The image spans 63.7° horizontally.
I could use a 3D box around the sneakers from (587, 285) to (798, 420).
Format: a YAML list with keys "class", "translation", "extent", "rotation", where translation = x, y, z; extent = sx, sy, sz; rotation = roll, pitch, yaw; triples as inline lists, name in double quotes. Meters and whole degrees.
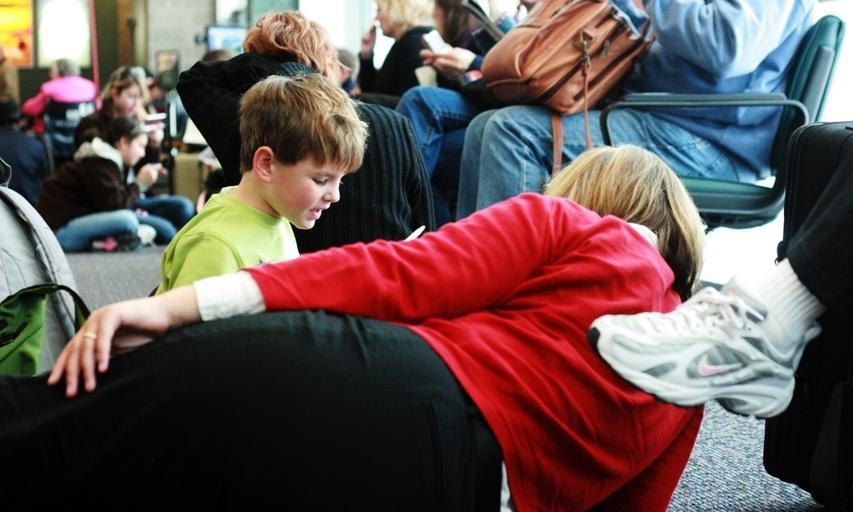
- class: "sneakers"
  translation: [0.554, 0.187, 1.395]
  extent: [0.474, 0.230, 0.159]
  rotation: [13, 4, -10]

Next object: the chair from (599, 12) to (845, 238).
- class: "chair"
  translation: [0.940, -0.413, 2.452]
  extent: [0.697, 0.828, 0.707]
  rotation: [7, 2, 6]
